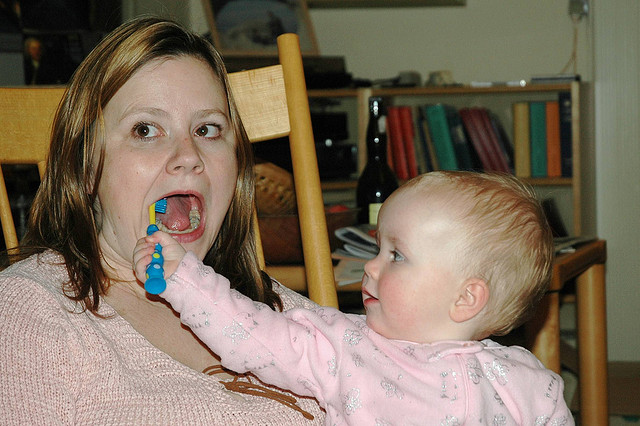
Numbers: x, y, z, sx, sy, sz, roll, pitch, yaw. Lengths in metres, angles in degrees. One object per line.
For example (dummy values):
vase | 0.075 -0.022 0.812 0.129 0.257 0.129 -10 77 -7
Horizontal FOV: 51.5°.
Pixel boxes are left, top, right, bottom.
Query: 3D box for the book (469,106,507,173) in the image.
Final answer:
book | 0.638 -0.285 2.497 0.056 0.252 0.234 -16 0 -6

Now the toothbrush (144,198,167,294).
toothbrush | -0.359 0.067 1.505 0.050 0.045 0.250 6 38 -9

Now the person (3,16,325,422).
person | -0.364 0.010 1.546 0.705 0.941 0.468 -1 6 -2

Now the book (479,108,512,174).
book | 0.701 -0.276 2.520 0.140 0.271 0.268 0 5 27

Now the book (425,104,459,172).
book | 0.486 -0.305 2.610 0.044 0.282 0.240 -16 23 11

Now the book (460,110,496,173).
book | 0.602 -0.276 2.497 0.055 0.248 0.235 -16 -10 4

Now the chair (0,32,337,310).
chair | -0.393 -0.085 1.689 0.602 0.578 0.985 -3 -5 4
